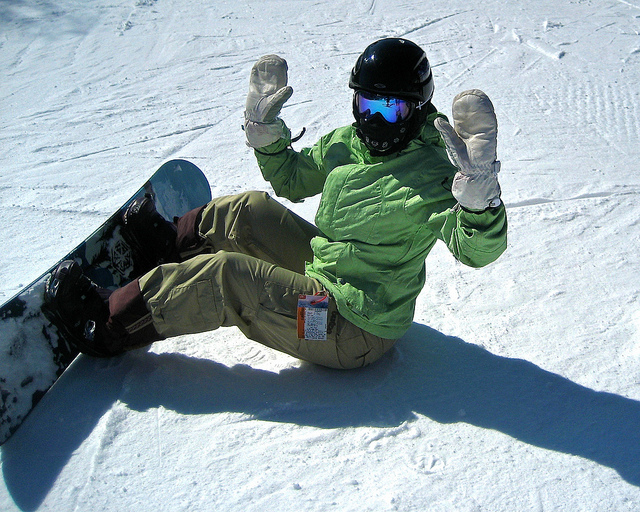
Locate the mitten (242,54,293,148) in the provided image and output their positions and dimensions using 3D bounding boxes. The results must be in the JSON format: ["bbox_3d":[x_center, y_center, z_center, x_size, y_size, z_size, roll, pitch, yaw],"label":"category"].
[{"bbox_3d":[-0.348,-0.984,4.414,0.394,0.538,0.240,11,2,38],"label":"mitten"}]

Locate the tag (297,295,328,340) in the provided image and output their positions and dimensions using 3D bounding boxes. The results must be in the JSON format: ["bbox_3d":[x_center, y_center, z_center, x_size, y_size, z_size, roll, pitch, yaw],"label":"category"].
[{"bbox_3d":[-0.042,0.336,3.946,0.237,0.320,0.016,3,8,-4],"label":"tag"}]

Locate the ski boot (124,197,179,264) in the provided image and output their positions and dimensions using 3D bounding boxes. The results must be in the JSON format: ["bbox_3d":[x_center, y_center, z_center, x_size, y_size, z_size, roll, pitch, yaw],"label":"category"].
[{"bbox_3d":[-1.115,-0.151,4.565,0.216,0.397,0.282,1,36,18],"label":"ski boot"}]

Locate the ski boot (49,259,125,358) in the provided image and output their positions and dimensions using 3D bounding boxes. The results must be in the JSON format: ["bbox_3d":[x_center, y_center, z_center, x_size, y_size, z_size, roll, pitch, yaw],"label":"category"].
[{"bbox_3d":[-1.358,0.334,4.075,0.313,0.581,0.247,10,42,24],"label":"ski boot"}]
